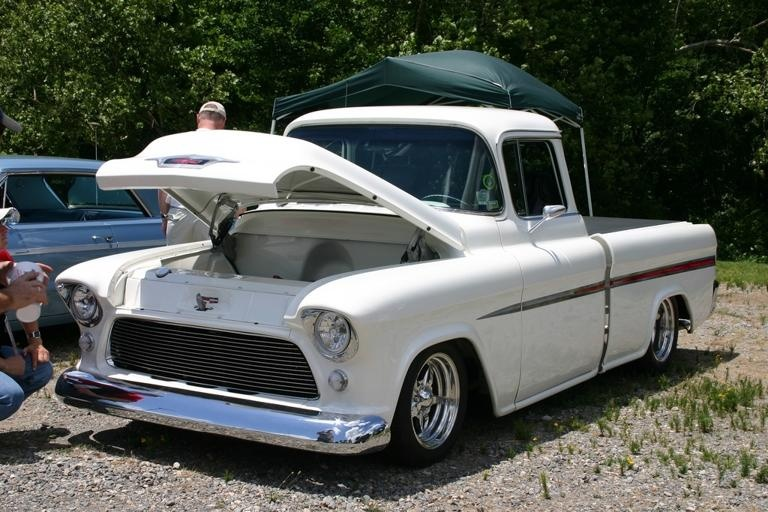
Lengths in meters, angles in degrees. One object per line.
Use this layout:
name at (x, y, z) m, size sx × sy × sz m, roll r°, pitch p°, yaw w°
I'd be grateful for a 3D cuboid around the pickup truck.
pickup truck at (0.566, 0.222, 6.696) m, size 2.991 × 1.922 × 5.218 m, roll 1°, pitch 1°, yaw 43°

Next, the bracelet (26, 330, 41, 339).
bracelet at (-3.040, 0.672, 6.009) m, size 0.095 × 0.058 × 0.093 m, roll -19°, pitch -17°, yaw 26°

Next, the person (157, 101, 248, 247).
person at (-2.152, -0.965, 7.572) m, size 0.819 × 1.655 × 0.805 m, roll -1°, pitch 0°, yaw 1°
